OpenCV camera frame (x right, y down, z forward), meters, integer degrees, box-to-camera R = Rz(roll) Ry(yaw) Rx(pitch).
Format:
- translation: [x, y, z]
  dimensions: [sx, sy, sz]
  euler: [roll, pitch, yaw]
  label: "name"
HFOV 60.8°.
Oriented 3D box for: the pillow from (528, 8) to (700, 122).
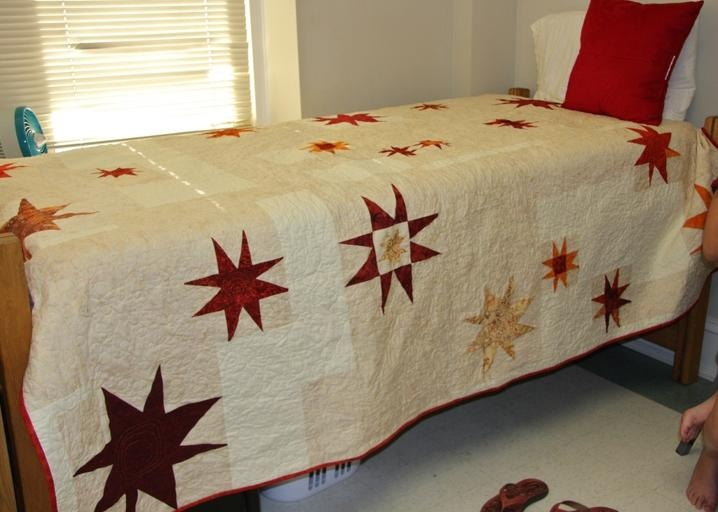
- translation: [0.980, -0.726, 2.518]
  dimensions: [0.179, 0.498, 0.580]
  euler: [-15, 20, -38]
  label: "pillow"
